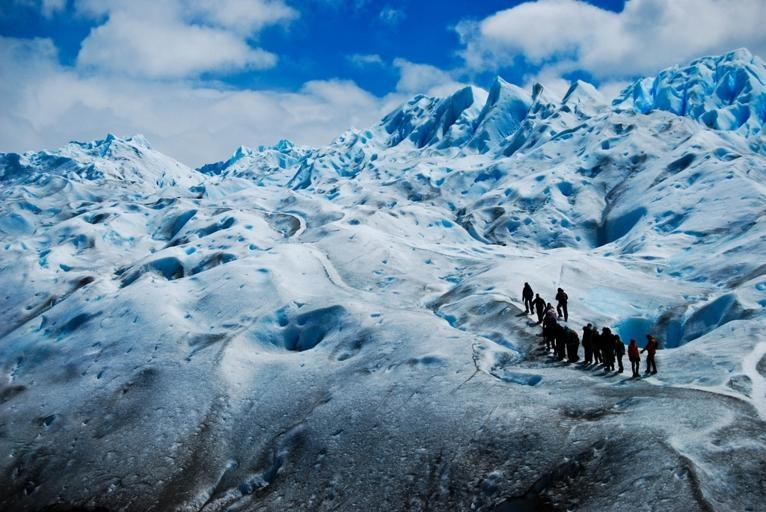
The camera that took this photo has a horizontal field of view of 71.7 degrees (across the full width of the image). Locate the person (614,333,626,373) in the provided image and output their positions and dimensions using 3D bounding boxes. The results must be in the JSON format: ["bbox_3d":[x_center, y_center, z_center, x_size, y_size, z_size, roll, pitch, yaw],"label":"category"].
[{"bbox_3d":[16.767,6.863,37.692,0.580,2.626,1.591,-3,4,23],"label":"person"}]
